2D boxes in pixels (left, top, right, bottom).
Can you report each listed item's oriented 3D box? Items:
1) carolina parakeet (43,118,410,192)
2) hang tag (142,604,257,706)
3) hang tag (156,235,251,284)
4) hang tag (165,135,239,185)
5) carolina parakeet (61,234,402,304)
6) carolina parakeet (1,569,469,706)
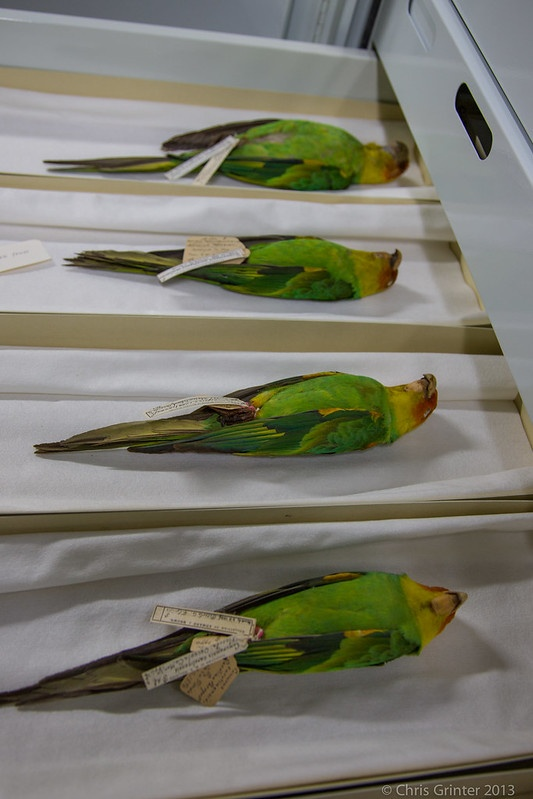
[{"bbox_3d":[-0.095,-0.457,1.333,0.791,0.126,0.163,1,54,-1],"label":"carolina parakeet"},{"bbox_3d":[-0.085,0.314,0.871,0.132,0.085,0.083,15,41,-5],"label":"hang tag"},{"bbox_3d":[-0.112,-0.243,1.192,0.127,0.018,0.082,-18,50,-8],"label":"hang tag"},{"bbox_3d":[-0.120,-0.443,1.321,0.064,0.013,0.165,39,69,18],"label":"hang tag"},{"bbox_3d":[-0.076,-0.217,1.191,0.475,0.076,0.098,2,42,-3],"label":"carolina parakeet"},{"bbox_3d":[-0.055,0.308,0.900,0.449,0.110,0.085,-7,58,-10],"label":"carolina parakeet"}]
